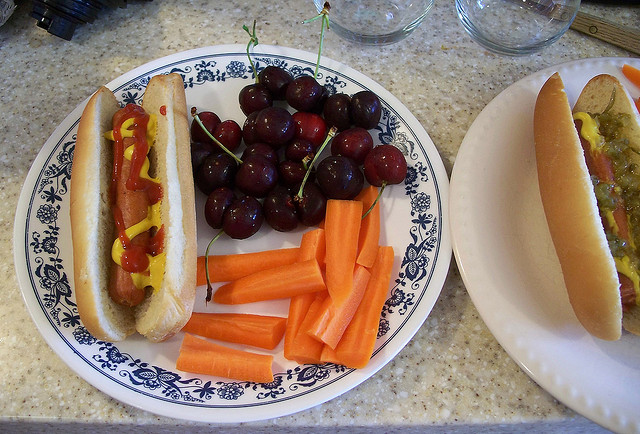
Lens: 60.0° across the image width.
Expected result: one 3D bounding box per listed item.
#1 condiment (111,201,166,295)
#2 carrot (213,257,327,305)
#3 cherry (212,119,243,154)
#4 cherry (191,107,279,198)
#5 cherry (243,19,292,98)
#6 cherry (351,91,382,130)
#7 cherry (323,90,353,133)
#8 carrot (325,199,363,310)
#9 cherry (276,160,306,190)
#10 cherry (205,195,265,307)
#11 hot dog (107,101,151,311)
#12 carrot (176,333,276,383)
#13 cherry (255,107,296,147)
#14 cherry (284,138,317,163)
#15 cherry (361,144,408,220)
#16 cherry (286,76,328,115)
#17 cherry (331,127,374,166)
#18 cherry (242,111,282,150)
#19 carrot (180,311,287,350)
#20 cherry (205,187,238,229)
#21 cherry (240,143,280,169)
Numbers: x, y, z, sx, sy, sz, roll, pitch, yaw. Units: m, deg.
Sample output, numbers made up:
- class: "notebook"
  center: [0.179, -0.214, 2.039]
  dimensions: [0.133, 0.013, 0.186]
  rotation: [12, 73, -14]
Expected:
- class: "condiment"
  center: [-0.698, 0.127, 2.137]
  dimensions: [0.203, 0.355, 0.091]
  rotation: [-11, -4, -2]
- class: "carrot"
  center: [-0.221, 0.279, 2.223]
  dimensions: [0.445, 0.124, 0.132]
  rotation: [-12, 33, -4]
- class: "cherry"
  center: [-0.417, -0.354, 2.379]
  dimensions: [0.119, 0.124, 0.159]
  rotation: [18, 25, 16]
- class: "cherry"
  center: [-0.294, -0.247, 2.305]
  dimensions: [0.365, 0.352, 0.253]
  rotation: [24, 39, 33]
- class: "cherry"
  center: [-0.272, -0.716, 2.422]
  dimensions: [0.116, 0.229, 0.090]
  rotation: [-5, -4, 20]
- class: "cherry"
  center: [0.189, -0.476, 2.363]
  dimensions: [0.156, 0.125, 0.123]
  rotation: [2, 1, 19]
- class: "cherry"
  center: [0.077, -0.441, 2.335]
  dimensions: [0.128, 0.175, 0.095]
  rotation: [-2, 3, 6]
- class: "carrot"
  center: [0.083, 0.139, 2.127]
  dimensions: [0.132, 0.420, 0.082]
  rotation: [4, -13, -2]
- class: "cherry"
  center: [-0.127, -0.174, 2.319]
  dimensions: [0.160, 0.095, 0.123]
  rotation: [-4, 29, -31]
- class: "cherry"
  center: [-0.305, 0.141, 2.300]
  dimensions: [0.264, 0.396, 0.198]
  rotation: [28, 39, 32]
- class: "hot dog"
  center: [-0.734, -0.053, 2.262]
  dimensions: [0.187, 0.827, 0.198]
  rotation: [-3, -17, -6]
- class: "carrot"
  center: [-0.345, 0.547, 2.089]
  dimensions: [0.372, 0.126, 0.078]
  rotation: [13, -4, -1]
- class: "cherry"
  center: [-0.182, -0.374, 2.270]
  dimensions: [0.147, 0.149, 0.081]
  rotation: [-44, 2, -4]
- class: "cherry"
  center: [-0.088, -0.281, 2.345]
  dimensions: [0.100, 0.104, 0.103]
  rotation: [2, -33, -9]
- class: "cherry"
  center: [0.274, -0.159, 2.274]
  dimensions: [0.175, 0.306, 0.134]
  rotation: [-1, -28, 22]
- class: "cherry"
  center: [-0.059, -0.518, 2.366]
  dimensions: [0.169, 0.143, 0.101]
  rotation: [24, -4, 0]
- class: "cherry"
  center: [0.140, -0.300, 2.355]
  dimensions: [0.117, 0.131, 0.201]
  rotation: [-27, 40, -37]
- class: "cherry"
  center: [-0.222, -0.354, 2.333]
  dimensions: [0.143, 0.181, 0.153]
  rotation: [-4, -27, 6]
- class: "carrot"
  center: [-0.332, 0.438, 2.207]
  dimensions: [0.409, 0.109, 0.156]
  rotation: [2, 21, 13]
- class: "cherry"
  center: [-0.410, -0.042, 2.287]
  dimensions: [0.117, 0.142, 0.146]
  rotation: [-16, 35, -28]
- class: "cherry"
  center: [-0.255, -0.243, 2.331]
  dimensions: [0.111, 0.119, 0.113]
  rotation: [-7, -7, 26]
